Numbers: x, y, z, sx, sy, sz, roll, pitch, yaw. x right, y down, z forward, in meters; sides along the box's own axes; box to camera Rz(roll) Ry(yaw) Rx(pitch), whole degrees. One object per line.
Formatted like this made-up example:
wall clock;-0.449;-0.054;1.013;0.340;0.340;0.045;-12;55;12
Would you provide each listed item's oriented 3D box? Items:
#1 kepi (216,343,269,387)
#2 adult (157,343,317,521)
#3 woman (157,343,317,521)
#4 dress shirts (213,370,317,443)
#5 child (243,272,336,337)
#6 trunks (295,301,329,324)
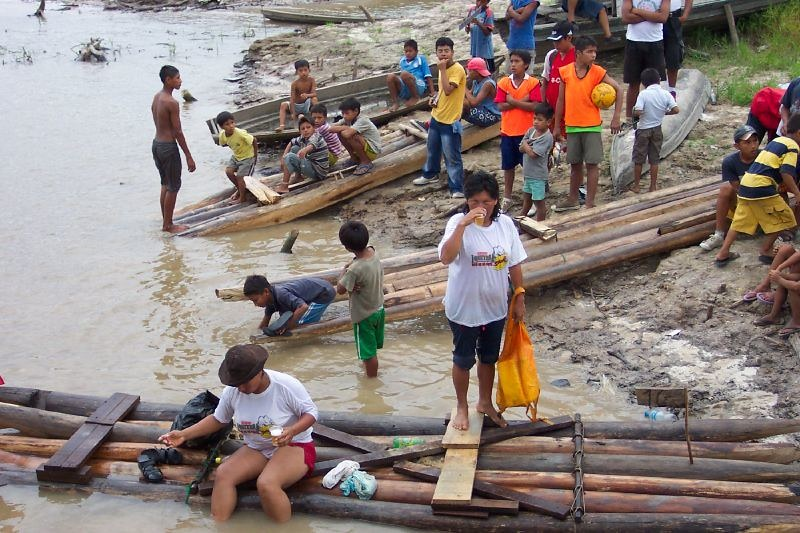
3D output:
kepi;-1.828;1.174;11.606;0.575;0.485;0.327;-17;23;-30
adult;-1.742;1.959;11.699;1.534;2.056;0.875;-8;21;-6
woman;-1.746;1.960;11.697;1.539;2.056;0.864;-8;21;-4
dress shirts;-1.610;1.751;11.941;1.466;0.872;0.677;-4;25;16
child;-1.591;0.536;14.174;1.372;0.723;0.855;-8;10;-33
trunks;-1.299;0.646;14.057;0.305;0.206;0.155;-23;50;-19
